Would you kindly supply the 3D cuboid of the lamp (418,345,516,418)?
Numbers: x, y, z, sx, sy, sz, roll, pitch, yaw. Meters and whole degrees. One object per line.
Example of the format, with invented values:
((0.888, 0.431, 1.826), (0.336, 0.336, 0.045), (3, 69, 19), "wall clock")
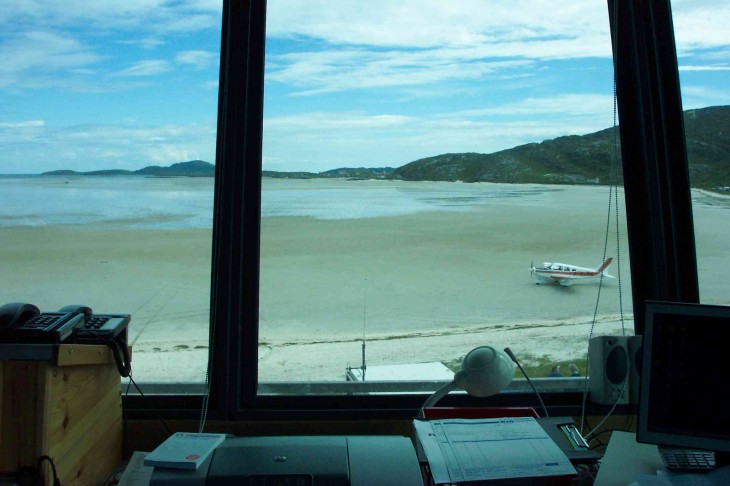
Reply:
((0.455, 0.625, 3.096), (0.441, 0.306, 0.111), (-3, 2, 8), "lamp")
